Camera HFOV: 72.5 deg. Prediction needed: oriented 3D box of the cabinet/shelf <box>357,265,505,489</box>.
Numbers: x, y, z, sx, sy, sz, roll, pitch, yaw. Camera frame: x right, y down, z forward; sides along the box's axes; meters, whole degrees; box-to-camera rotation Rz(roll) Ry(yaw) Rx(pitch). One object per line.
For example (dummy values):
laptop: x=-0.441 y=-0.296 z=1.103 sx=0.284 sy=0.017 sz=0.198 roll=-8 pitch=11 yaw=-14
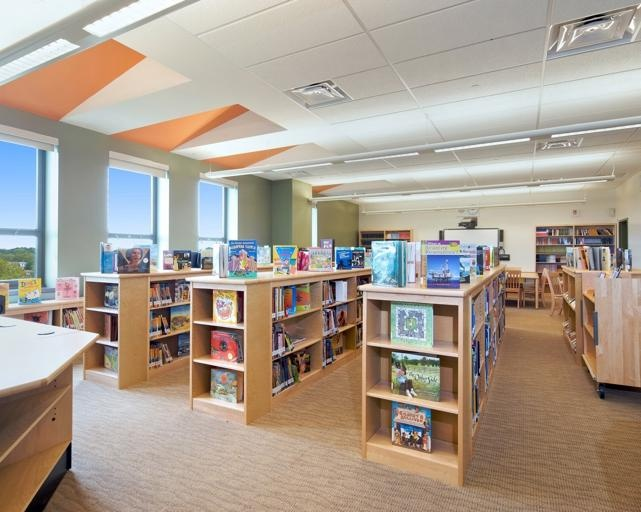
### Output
cabinet/shelf: x=0.981 y=1.141 z=3.979 sx=0.525 sy=0.941 sz=1.702 roll=1 pitch=-1 yaw=27

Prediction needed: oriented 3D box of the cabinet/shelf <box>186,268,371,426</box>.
cabinet/shelf: x=0.193 y=1.177 z=6.763 sx=1.764 sy=1.075 sz=3.866 roll=21 pitch=2 yaw=12

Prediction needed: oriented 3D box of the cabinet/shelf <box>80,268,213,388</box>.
cabinet/shelf: x=-2.231 y=0.908 z=5.511 sx=0.458 sy=1.091 sz=1.378 roll=0 pitch=-1 yaw=20
